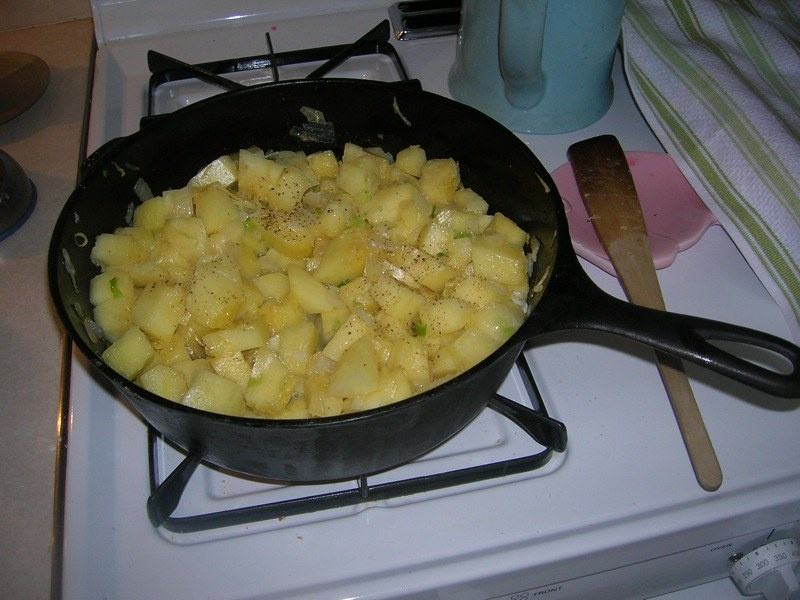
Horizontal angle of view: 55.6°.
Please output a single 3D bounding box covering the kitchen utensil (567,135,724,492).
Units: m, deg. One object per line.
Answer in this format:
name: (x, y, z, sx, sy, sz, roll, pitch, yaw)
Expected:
kitchen utensil: (0.442, -0.058, 1.466, 0.115, 0.042, 0.830, -11, 62, 1)
